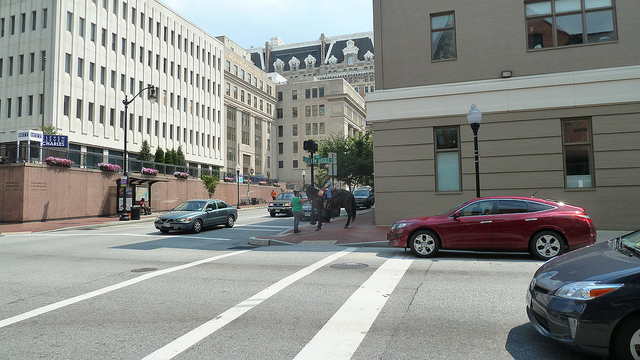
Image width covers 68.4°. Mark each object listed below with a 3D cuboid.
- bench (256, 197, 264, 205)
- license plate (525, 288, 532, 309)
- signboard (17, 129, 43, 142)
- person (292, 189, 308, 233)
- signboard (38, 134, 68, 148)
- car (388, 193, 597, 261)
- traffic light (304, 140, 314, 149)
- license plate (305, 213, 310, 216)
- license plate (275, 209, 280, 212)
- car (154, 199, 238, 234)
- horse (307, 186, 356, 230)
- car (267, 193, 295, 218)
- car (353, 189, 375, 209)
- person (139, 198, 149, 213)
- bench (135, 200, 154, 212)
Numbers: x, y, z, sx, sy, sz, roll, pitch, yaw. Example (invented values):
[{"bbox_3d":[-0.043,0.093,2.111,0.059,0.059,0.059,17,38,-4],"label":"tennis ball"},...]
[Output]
[{"bbox_3d":[-8.357,2.862,64.783,0.679,0.994,2.387,-2,-4,7],"label":"bench"},{"bbox_3d":[6.103,3.433,13.713,0.093,0.494,0.331,-2,-4,13],"label":"license plate"},{"bbox_3d":[-22.813,-3.455,36.768,1.224,0.666,1.197,-3,-5,24],"label":"signboard"},{"bbox_3d":[-1.226,1.739,26.648,0.691,2.415,1.270,-1,-4,-3],"label":"person"},{"bbox_3d":[-22.528,-3.282,39.850,0.595,1.096,2.308,-3,-4,28],"label":"signboard"},{"bbox_3d":[7.223,2.051,20.475,7.452,2.105,3.148,0,-5,8],"label":"car"},{"bbox_3d":[-0.668,-2.093,28.135,0.573,0.558,0.627,-1,-4,-2],"label":"traffic light"},{"bbox_3d":[-0.961,2.548,35.056,0.296,0.175,0.150,0,-7,3],"label":"license plate"},{"bbox_3d":[-3.617,2.561,39.525,0.398,0.211,0.670,-1,-4,-10],"label":"license plate"},{"bbox_3d":[-7.669,2.250,29.433,1.903,2.060,4.788,-3,-5,31],"label":"car"},{"bbox_3d":[0.352,1.541,27.796,4.032,2.649,0.945,-2,-3,-27],"label":"horse"},{"bbox_3d":[-3.383,2.083,39.894,1.900,2.025,2.260,-1,-4,-6],"label":"car"},{"bbox_3d":[4.222,1.822,45.367,1.727,1.892,3.383,-2,-4,4],"label":"car"},{"bbox_3d":[-15.138,2.153,40.380,0.751,1.253,2.991,0,-4,-21],"label":"person"},{"bbox_3d":[-15.088,2.214,40.178,0.627,0.789,1.315,-1,-2,7],"label":"bench"}]
